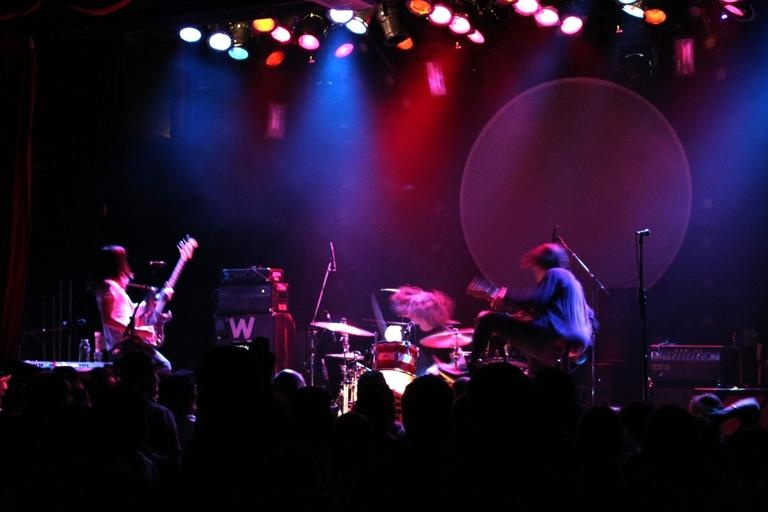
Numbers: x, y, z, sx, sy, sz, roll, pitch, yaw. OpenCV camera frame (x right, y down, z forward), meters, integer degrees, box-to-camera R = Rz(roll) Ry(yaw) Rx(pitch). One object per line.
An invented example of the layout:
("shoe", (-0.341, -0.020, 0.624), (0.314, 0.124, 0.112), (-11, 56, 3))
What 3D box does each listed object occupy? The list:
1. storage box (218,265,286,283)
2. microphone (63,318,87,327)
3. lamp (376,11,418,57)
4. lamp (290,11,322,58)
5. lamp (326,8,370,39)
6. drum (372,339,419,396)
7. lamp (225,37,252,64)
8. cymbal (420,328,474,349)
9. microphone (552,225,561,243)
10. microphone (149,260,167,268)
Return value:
("storage box", (-2.018, 0.305, 10.898), (0.870, 0.274, 0.302), (4, -9, -8))
("microphone", (-4.629, 1.003, 10.658), (0.372, 0.113, 0.110), (-5, -1, 14))
("lamp", (0.182, -3.190, 10.181), (0.248, 0.467, 0.249), (-30, -28, 7))
("lamp", (-1.086, -3.249, 10.363), (0.469, 0.313, 0.583), (5, -10, -16))
("lamp", (-0.498, -3.301, 10.011), (0.598, 0.233, 0.314), (9, -12, -36))
("drum", (0.129, 1.382, 8.796), (0.575, 0.561, 0.565), (24, -42, -13))
("lamp", (-2.176, -3.091, 10.626), (0.269, 0.213, 0.558), (3, -9, -6))
("cymbal", (0.838, 1.127, 9.545), (0.434, 0.104, 0.432), (-13, -6, 25))
("microphone", (2.424, -0.301, 10.114), (0.027, 0.254, 0.197), (-7, -46, 23))
("microphone", (-3.271, 0.129, 10.305), (0.144, 0.055, 0.093), (7, -13, 14))
